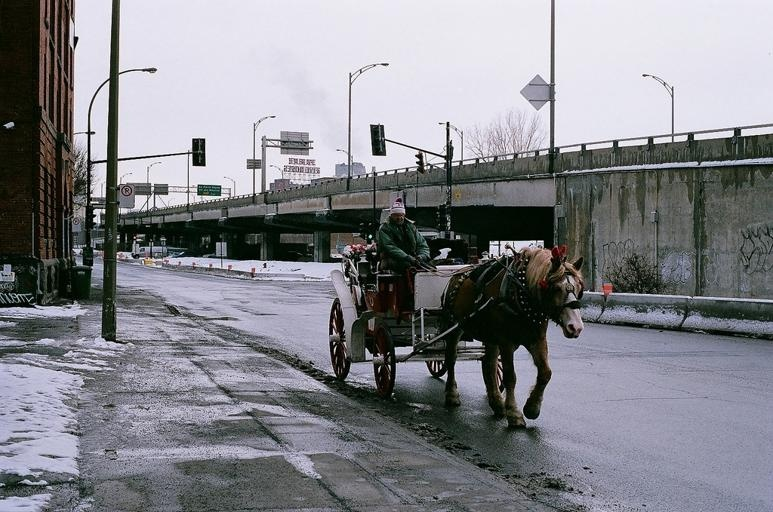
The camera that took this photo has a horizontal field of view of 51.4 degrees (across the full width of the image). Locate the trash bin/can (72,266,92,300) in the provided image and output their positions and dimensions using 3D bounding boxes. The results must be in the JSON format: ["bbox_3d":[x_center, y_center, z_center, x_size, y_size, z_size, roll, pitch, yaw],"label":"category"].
[{"bbox_3d":[-12.142,1.118,31.840,0.682,1.276,1.230,0,2,-21],"label":"trash bin/can"}]

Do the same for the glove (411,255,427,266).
[{"bbox_3d":[0.580,0.110,14.303,0.196,0.074,0.145,30,-6,-28],"label":"glove"}]

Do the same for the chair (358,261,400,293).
[{"bbox_3d":[-0.150,0.436,14.859,0.455,0.508,0.768,-1,-3,-24],"label":"chair"}]

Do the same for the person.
[{"bbox_3d":[0.365,-0.013,14.747,0.847,2.227,0.735,0,0,29],"label":"person"}]
